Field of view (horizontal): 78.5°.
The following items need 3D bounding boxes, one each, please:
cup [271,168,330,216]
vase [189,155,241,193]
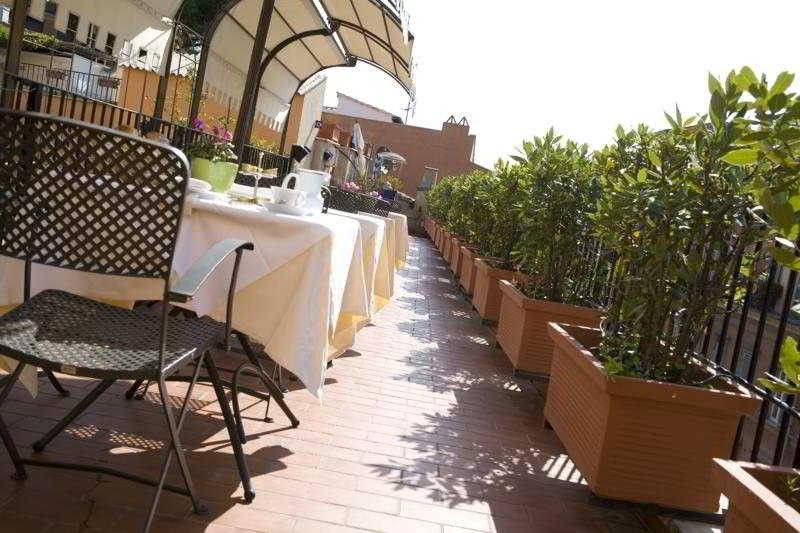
[{"bbox_3d":[-0.564,-0.444,2.878,0.331,0.330,0.228,-2,11,-23],"label":"cup"},{"bbox_3d":[-1.056,-0.528,2.792,0.204,0.134,0.212,11,7,30],"label":"vase"}]
